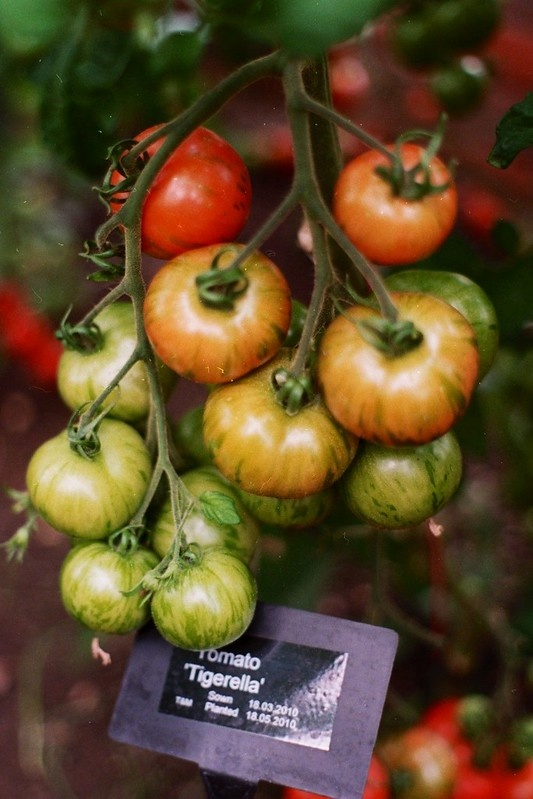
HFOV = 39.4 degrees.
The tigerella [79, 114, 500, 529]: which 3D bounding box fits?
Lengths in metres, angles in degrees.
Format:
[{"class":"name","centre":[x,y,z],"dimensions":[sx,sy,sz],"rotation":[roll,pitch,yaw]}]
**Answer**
[{"class":"tigerella","centre":[0.040,-0.047,0.507],"dimensions":[0.271,0.109,0.253],"rotation":[21,80,14]}]

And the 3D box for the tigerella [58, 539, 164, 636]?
[{"class":"tigerella","centre":[-0.122,0.139,0.610],"dimensions":[0.076,0.072,0.068],"rotation":[13,94,13]}]

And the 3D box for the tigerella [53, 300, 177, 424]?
[{"class":"tigerella","centre":[-0.144,-0.023,0.696],"dimensions":[0.106,0.105,0.096],"rotation":[-27,52,24]}]

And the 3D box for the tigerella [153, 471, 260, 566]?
[{"class":"tigerella","centre":[-0.044,0.098,0.618],"dimensions":[0.085,0.077,0.086],"rotation":[-2,77,-1]}]
